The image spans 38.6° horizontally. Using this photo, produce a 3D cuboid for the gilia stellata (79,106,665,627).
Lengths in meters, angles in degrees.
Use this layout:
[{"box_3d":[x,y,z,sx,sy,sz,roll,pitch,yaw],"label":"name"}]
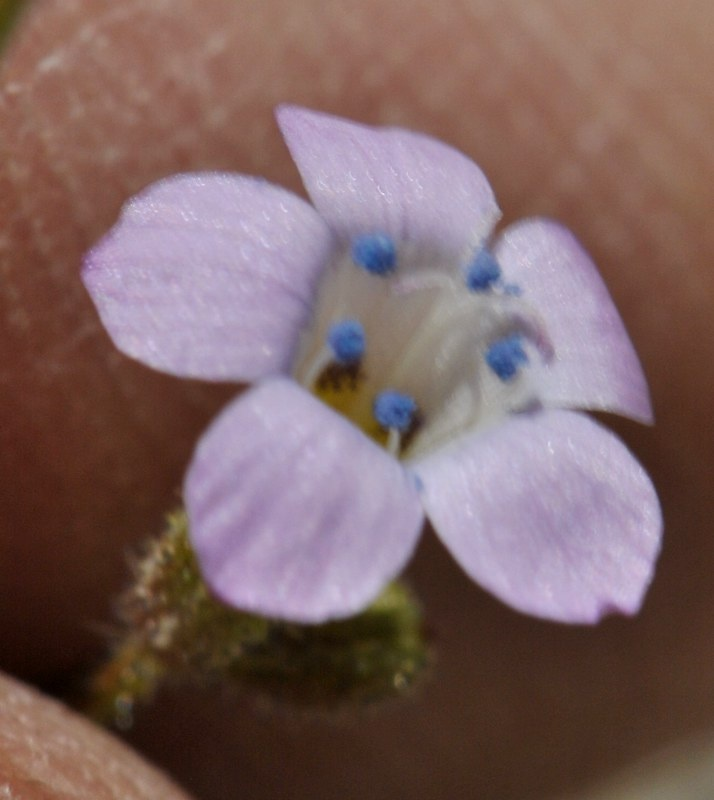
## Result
[{"box_3d":[-0.025,-0.038,0.429,0.088,0.234,0.246,36,46,12],"label":"gilia stellata"}]
